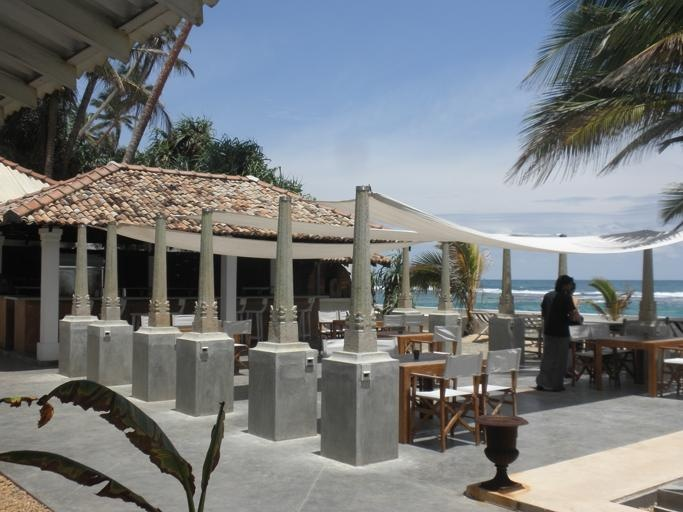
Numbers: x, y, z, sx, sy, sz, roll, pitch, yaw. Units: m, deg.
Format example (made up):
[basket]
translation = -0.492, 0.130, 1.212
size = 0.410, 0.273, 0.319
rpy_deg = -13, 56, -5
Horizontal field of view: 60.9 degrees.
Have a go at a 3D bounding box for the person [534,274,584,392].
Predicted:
[person]
translation = 3.429, 1.212, 9.177
size = 0.677, 1.852, 0.776
rpy_deg = -1, -8, 18
